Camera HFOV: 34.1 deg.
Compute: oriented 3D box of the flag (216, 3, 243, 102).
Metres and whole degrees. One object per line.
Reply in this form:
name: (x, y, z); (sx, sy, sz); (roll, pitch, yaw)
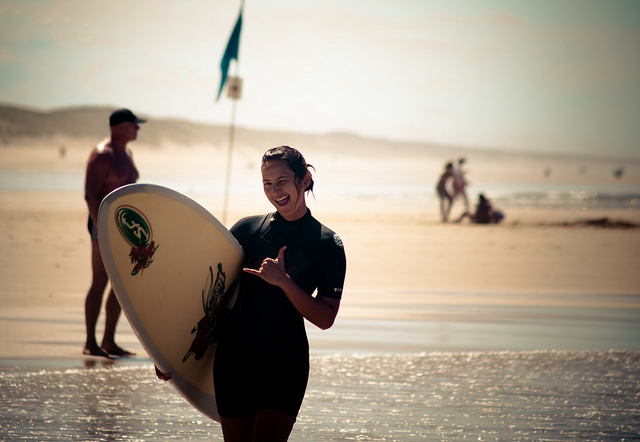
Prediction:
flag: (-1.548, -2.933, 18.068); (0.319, 1.832, 0.044); (18, -13, -4)
